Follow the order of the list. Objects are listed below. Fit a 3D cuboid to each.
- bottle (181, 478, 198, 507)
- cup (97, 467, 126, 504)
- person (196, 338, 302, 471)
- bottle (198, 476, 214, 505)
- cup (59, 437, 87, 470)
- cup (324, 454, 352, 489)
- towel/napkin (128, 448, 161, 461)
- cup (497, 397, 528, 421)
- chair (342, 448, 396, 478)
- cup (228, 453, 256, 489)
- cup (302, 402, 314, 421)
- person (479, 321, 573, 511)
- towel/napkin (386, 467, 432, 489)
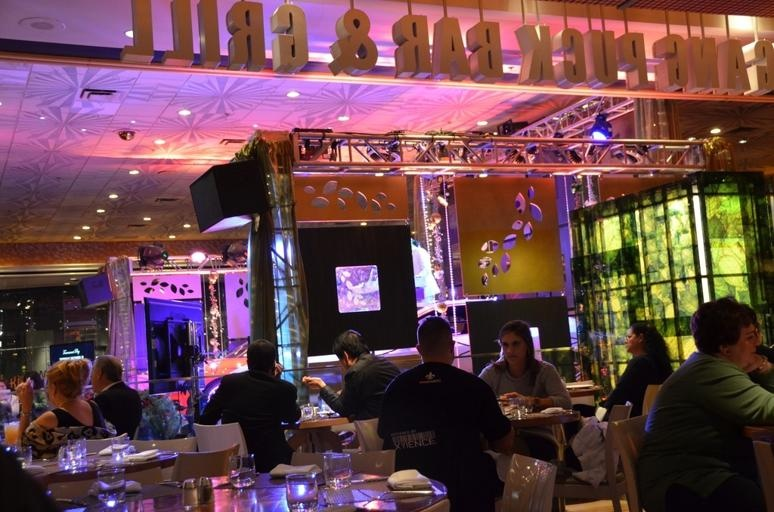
[{"bbox_3d":[-0.889,1.080,2.733,0.058,0.114,0.070,-4,-6,-19],"label":"bottle"},{"bbox_3d":[-1.330,1.113,2.917,0.118,0.155,0.206,-3,-6,-27],"label":"cup"},{"bbox_3d":[-1.171,1.484,5.374,0.879,1.342,0.756,1,7,8],"label":"person"},{"bbox_3d":[-0.827,1.068,2.748,0.060,0.099,0.077,-5,-6,-13],"label":"bottle"},{"bbox_3d":[-2.098,1.326,4.065,0.197,0.170,0.181,0,-8,0],"label":"cup"},{"bbox_3d":[-0.251,1.086,3.030,0.160,0.145,0.156,-3,-15,-1],"label":"cup"},{"bbox_3d":[-1.715,1.411,4.257,0.206,0.045,0.320,-3,-6,-21],"label":"towel/napkin"},{"bbox_3d":[1.045,1.247,4.934,0.153,0.132,0.188,0,-10,-2],"label":"cup"},{"bbox_3d":[-0.085,1.238,3.666,0.211,0.224,0.190,2,-1,-9],"label":"chair"},{"bbox_3d":[-0.758,1.134,3.196,0.172,0.155,0.163,-1,-7,0],"label":"cup"},{"bbox_3d":[-0.844,1.687,6.469,0.145,0.126,0.077,2,-32,-12],"label":"cup"},{"bbox_3d":[1.147,1.389,5.355,0.944,1.497,0.880,-2,-6,11],"label":"person"},{"bbox_3d":[0.109,1.083,2.915,0.126,0.034,0.118,1,-2,-9],"label":"towel/napkin"}]
